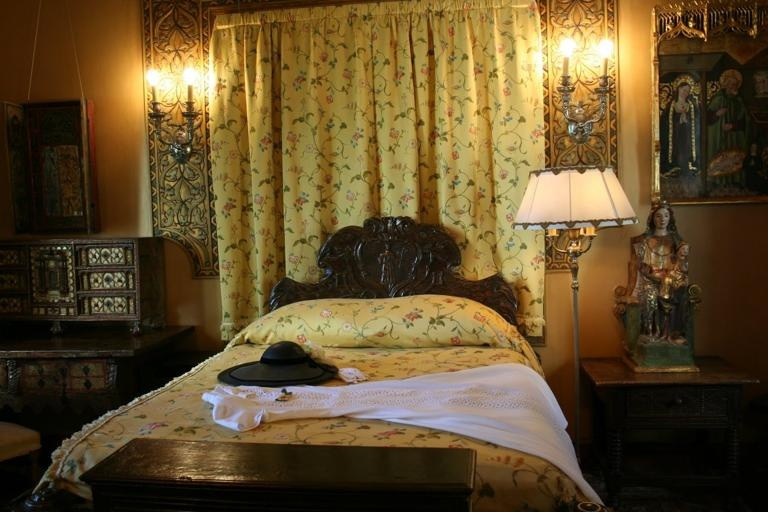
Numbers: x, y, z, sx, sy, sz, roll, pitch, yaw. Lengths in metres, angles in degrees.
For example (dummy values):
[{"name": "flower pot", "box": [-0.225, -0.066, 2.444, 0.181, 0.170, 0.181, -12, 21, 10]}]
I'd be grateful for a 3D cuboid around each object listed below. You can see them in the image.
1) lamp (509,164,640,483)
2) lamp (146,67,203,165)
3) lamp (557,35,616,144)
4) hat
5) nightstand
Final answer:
[{"name": "lamp", "box": [1.115, 0.337, 4.344, 0.585, 1.820, 0.626, -7, 15, -24]}, {"name": "lamp", "box": [-1.450, -0.961, 4.730, 0.389, 0.653, 0.265, -1, 14, -3]}, {"name": "lamp", "box": [1.274, -1.018, 4.433, 0.340, 0.568, 0.141, 2, -3, 3]}, {"name": "hat", "box": [-0.524, 0.583, 3.545, 0.321, 0.091, 0.344, -1, 3, -43]}, {"name": "nightstand", "box": [1.786, 0.942, 4.401, 1.066, 0.841, 0.875, -1, -3, 11]}]
